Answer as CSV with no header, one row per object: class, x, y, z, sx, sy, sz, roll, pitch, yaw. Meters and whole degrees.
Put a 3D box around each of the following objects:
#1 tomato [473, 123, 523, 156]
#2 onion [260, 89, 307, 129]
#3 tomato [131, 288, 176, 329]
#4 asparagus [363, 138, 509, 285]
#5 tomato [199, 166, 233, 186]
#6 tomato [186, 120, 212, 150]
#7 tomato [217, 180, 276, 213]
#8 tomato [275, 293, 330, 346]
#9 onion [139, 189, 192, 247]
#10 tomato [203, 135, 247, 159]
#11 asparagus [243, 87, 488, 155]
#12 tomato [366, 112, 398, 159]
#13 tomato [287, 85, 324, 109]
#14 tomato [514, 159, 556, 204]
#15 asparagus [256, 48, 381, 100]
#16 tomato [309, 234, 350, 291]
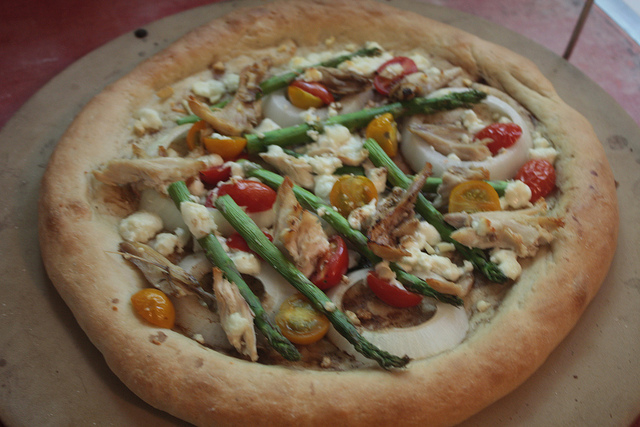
tomato,1.558,-0.675,5.448,0.312,0.167,0.299,-32,40,-14
onion,-0.348,-0.902,5.532,0.340,0.338,0.131,40,-12,6
tomato,-1.276,0.738,4.774,0.237,0.168,0.351,-16,31,-35
asparagus,0.952,0.029,5.103,1.583,0.181,0.183,44,1,1
tomato,-0.872,-0.315,5.249,0.185,0.110,0.181,-23,25,-27
tomato,-1.065,-0.680,5.403,0.252,0.239,0.080,3,-4,4
tomato,-0.581,-0.135,5.030,0.403,0.209,0.233,4,0,8
tomato,-0.125,0.818,4.765,0.362,0.362,0.145,1,-27,-6
onion,-1.254,-0.002,5.277,0.274,0.403,0.589,15,29,31
tomato,-0.804,-0.592,5.345,0.242,0.142,0.235,-15,24,-30
asparagus,0.399,-0.794,5.508,2.172,0.279,0.244,-9,20,-2
tomato,0.552,-0.673,5.500,0.239,0.323,0.425,-9,37,-5
tomato,-0.149,-1.033,5.560,0.241,0.140,0.232,31,-2,-4
tomato,1.842,-0.293,5.347,0.392,0.319,0.102,-35,-9,-10
asparagus,-0.016,-1.270,5.771,1.165,0.121,0.140,-22,23,-6
tomato,0.085,0.368,4.921,0.212,0.350,0.354,27,26,-7
